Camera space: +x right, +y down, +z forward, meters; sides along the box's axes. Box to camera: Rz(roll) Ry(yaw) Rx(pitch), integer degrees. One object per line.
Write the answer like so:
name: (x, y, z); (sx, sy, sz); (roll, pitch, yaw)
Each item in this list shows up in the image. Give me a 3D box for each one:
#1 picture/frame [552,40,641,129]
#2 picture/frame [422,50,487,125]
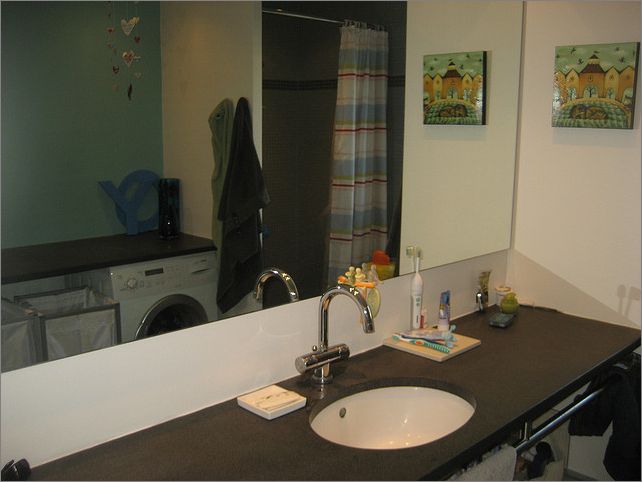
picture/frame: (1.314, -0.745, 2.370); (0.041, 0.433, 0.398); (-7, 11, -40)
picture/frame: (0.629, -0.750, 2.416); (0.352, 0.399, 0.039); (-4, 11, -23)
